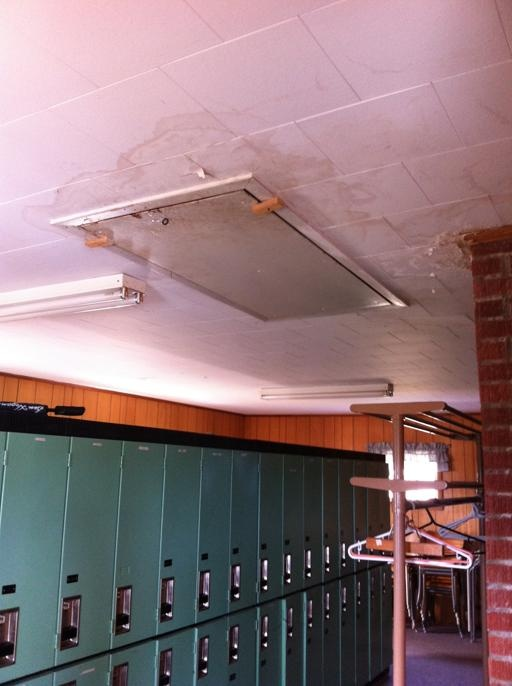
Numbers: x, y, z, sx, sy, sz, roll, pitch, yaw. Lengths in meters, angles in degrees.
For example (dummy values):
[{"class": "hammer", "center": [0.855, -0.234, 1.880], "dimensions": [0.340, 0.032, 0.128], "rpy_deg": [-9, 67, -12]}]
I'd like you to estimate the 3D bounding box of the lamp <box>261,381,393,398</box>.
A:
[{"class": "lamp", "center": [0.811, 0.561, 6.159], "dimensions": [1.537, 0.250, 0.158], "rpy_deg": [-6, -5, 23]}]
